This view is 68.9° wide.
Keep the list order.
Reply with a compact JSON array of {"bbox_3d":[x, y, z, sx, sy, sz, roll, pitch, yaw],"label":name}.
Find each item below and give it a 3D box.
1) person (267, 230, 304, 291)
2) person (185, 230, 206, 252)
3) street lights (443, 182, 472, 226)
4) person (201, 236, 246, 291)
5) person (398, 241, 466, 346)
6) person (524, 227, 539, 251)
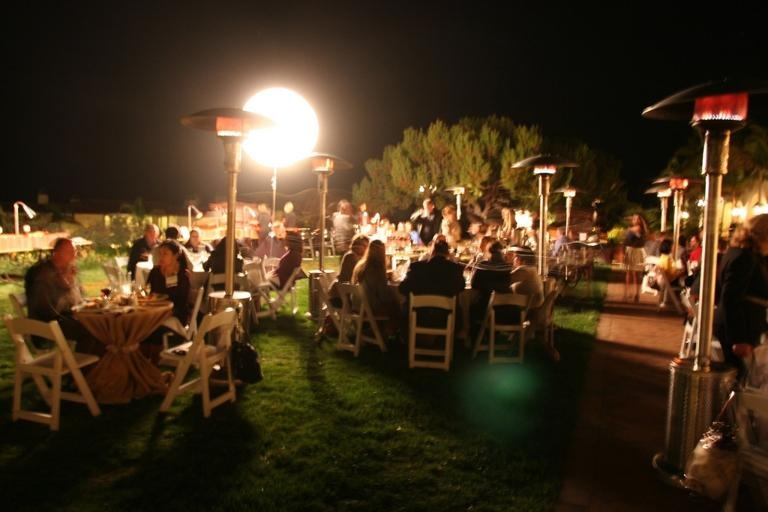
[{"bbox_3d":[-2.110,0.042,11.665,0.776,1.250,0.780,14,-2,-5],"label":"person"},{"bbox_3d":[-4.565,-0.347,13.476,0.703,0.582,0.358,0,2,-32],"label":"person"},{"bbox_3d":[2.685,-1.864,20.114,0.811,1.113,0.860,-4,-4,1],"label":"street lights"},{"bbox_3d":[-2.928,0.168,10.176,0.908,0.941,0.502,6,23,-10],"label":"person"},{"bbox_3d":[0.787,0.686,9.242,1.160,2.214,1.203,5,34,2],"label":"person"},{"bbox_3d":[4.210,-0.467,16.075,0.327,0.280,0.743,-17,-4,30],"label":"person"}]
